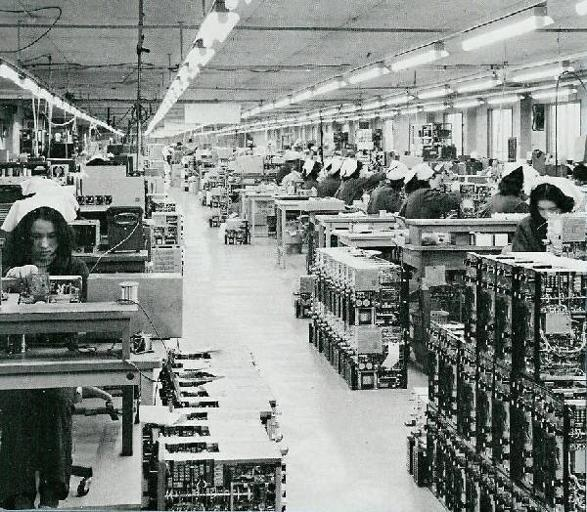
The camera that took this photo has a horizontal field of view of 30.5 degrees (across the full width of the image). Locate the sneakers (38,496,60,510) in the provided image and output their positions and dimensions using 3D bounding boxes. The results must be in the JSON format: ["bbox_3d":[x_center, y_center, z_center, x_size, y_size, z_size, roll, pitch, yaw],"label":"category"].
[{"bbox_3d":[-1.541,1.544,6.689,0.133,0.073,0.160,5,7,-2],"label":"sneakers"}]
